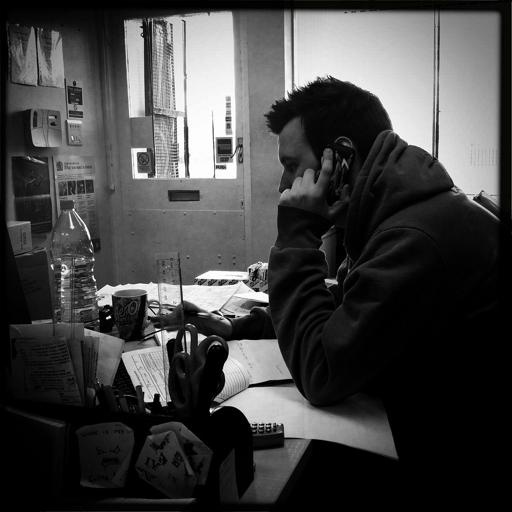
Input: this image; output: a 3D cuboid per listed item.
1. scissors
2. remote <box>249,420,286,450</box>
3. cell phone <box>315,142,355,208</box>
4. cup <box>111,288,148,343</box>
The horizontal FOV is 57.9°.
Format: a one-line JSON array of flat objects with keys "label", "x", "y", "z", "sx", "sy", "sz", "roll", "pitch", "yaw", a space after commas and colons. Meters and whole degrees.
[{"label": "scissors", "x": -0.073, "y": 0.145, "z": 0.572, "sx": 0.041, "sy": 0.151, "sz": 0.096, "roll": 7, "pitch": 2, "yaw": -37}, {"label": "remote", "x": 0.016, "y": 0.233, "z": 0.595, "sx": 0.043, "sy": 0.023, "sz": 0.048, "roll": 2, "pitch": 10, "yaw": 2}, {"label": "cell phone", "x": 0.141, "y": -0.151, "z": 0.815, "sx": 0.048, "sy": 0.119, "sz": 0.032, "roll": 10, "pitch": 18, "yaw": -5}, {"label": "cup", "x": -0.278, "y": 0.118, "z": 1.010, "sx": 0.052, "sy": 0.121, "sz": 0.065, "roll": -1, "pitch": 12, "yaw": -32}]
